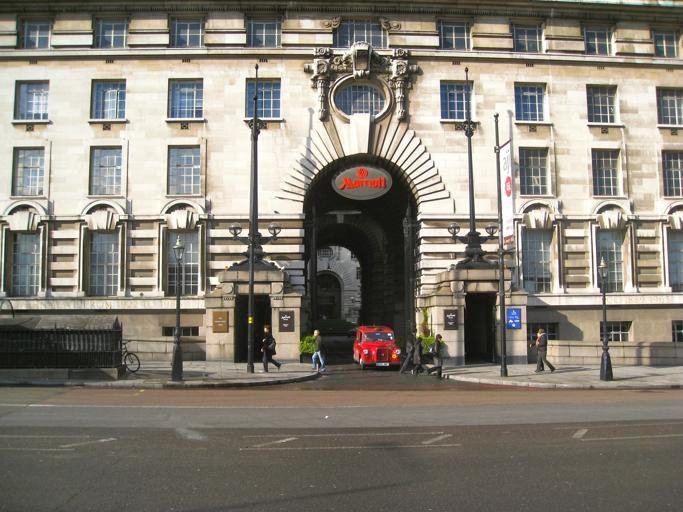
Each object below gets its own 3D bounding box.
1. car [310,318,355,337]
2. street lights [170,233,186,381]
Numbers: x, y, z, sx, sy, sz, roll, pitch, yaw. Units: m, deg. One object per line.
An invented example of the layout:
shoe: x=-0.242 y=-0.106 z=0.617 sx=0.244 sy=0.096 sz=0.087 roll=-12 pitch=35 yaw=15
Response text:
car: x=-0.482 y=5.171 z=68.017 sx=2.905 sy=1.007 sz=1.299 roll=-1 pitch=4 yaw=-6
street lights: x=-8.756 y=2.980 z=50.221 sx=0.981 sy=7.067 sz=0.861 roll=-2 pitch=1 yaw=-20
